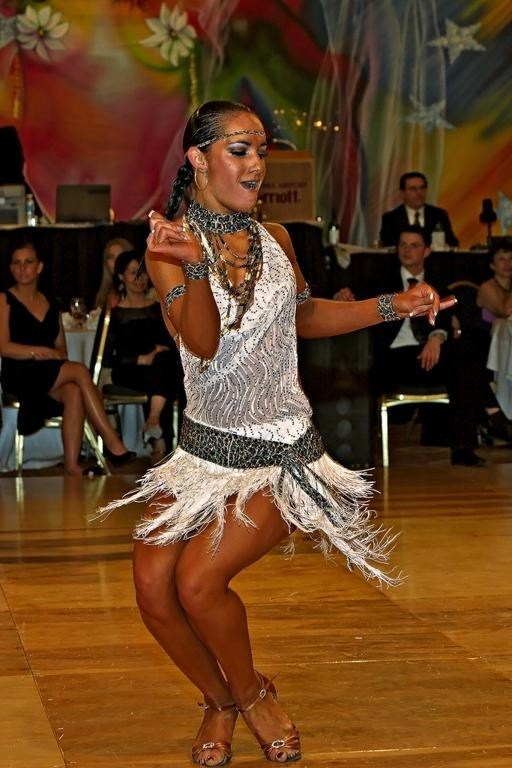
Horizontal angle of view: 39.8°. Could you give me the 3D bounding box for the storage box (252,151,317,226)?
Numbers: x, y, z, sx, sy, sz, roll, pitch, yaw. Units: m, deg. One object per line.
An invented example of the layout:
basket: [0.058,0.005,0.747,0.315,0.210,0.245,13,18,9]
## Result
storage box: [0.427,-2.092,7.613,0.707,0.784,0.516,13,19,38]

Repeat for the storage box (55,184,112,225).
storage box: [-1.596,-1.647,6.602,0.596,0.349,0.374,1,0,-2]

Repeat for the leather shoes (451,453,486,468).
leather shoes: [1.326,0.483,4.472,0.239,0.089,0.078,0,2,26]

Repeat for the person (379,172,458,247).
person: [1.654,-1.691,7.279,0.902,0.872,0.572,-2,10,1]

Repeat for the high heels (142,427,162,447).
high heels: [-0.682,0.334,4.738,0.118,0.136,0.122,-14,53,-21]

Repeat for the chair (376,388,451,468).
chair: [0.936,0.253,4.660,0.642,0.506,0.464,-1,5,-1]

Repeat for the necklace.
necklace: [-0.058,-0.159,1.054,0.129,0.184,0.052,-1,-10,-34]

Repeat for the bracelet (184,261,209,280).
bracelet: [-0.068,-0.131,0.825,0.024,0.015,0.024,0,3,5]

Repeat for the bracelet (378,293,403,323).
bracelet: [0.234,-0.136,1.264,0.043,0.046,0.020,-4,-14,14]
